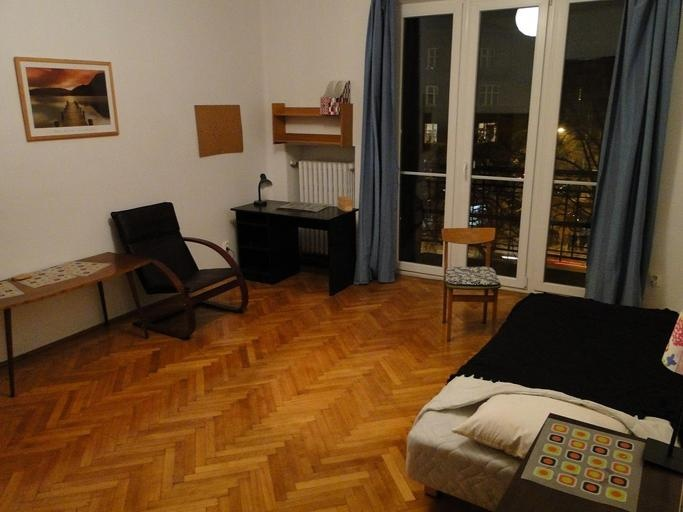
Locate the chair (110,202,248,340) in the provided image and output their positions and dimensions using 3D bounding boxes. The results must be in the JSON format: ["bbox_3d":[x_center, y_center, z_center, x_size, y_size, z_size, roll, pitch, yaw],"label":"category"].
[{"bbox_3d":[-1.446,0.097,4.728,0.964,0.997,0.838,14,21,35],"label":"chair"}]

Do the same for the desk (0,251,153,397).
[{"bbox_3d":[-2.134,0.461,4.187,0.667,0.724,1.210,15,25,42],"label":"desk"}]

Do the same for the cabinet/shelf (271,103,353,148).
[{"bbox_3d":[-0.363,-1.400,5.626,0.763,0.344,0.227,8,13,22],"label":"cabinet/shelf"}]

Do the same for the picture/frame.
[{"bbox_3d":[-2.249,-1.264,4.203,0.029,0.607,0.769,8,13,34],"label":"picture/frame"}]
